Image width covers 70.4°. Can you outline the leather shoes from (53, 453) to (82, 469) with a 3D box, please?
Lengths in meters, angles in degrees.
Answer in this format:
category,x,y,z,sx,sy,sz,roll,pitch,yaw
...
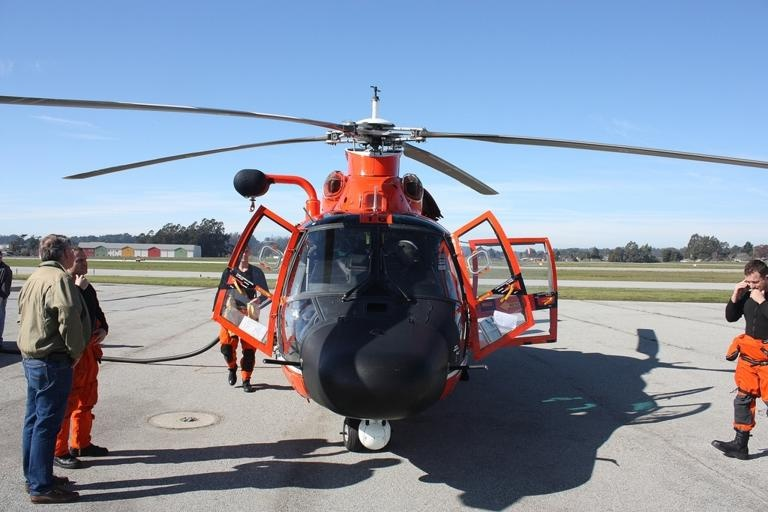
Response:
category,x,y,z,sx,sy,sz,roll,pitch,yaw
leather shoes,-3.672,2.413,6.351,0.345,0.119,0.131,0,1,0

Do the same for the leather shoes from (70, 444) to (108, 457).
category,x,y,z,sx,sy,sz,roll,pitch,yaw
leather shoes,-3.540,2.370,6.653,0.472,0.164,0.154,-1,0,-10

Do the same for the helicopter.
category,x,y,z,sx,sy,sz,roll,pitch,yaw
helicopter,0.070,0.303,8.962,5.797,2.567,6.707,1,3,-2

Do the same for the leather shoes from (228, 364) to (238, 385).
category,x,y,z,sx,sy,sz,roll,pitch,yaw
leather shoes,-2.476,1.975,8.975,0.155,0.401,0.181,-1,-18,-6

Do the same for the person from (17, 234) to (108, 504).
category,x,y,z,sx,sy,sz,roll,pitch,yaw
person,-3.636,1.211,5.981,0.667,2.802,0.959,-4,11,-33
